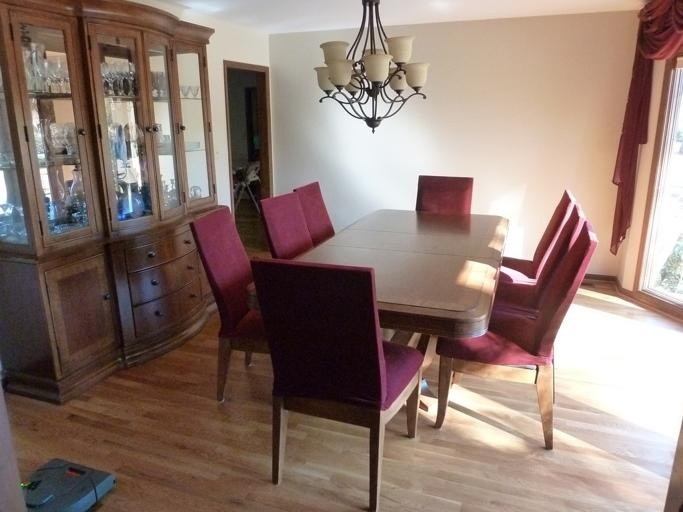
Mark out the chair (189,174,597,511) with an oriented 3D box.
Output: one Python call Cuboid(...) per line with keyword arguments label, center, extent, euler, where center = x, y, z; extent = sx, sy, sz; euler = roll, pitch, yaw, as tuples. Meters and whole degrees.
Cuboid(label="chair", center=(0.518, 0.115, 3.864), extent=(2.212, 1.305, 2.358), euler=(4, 21, 17))
